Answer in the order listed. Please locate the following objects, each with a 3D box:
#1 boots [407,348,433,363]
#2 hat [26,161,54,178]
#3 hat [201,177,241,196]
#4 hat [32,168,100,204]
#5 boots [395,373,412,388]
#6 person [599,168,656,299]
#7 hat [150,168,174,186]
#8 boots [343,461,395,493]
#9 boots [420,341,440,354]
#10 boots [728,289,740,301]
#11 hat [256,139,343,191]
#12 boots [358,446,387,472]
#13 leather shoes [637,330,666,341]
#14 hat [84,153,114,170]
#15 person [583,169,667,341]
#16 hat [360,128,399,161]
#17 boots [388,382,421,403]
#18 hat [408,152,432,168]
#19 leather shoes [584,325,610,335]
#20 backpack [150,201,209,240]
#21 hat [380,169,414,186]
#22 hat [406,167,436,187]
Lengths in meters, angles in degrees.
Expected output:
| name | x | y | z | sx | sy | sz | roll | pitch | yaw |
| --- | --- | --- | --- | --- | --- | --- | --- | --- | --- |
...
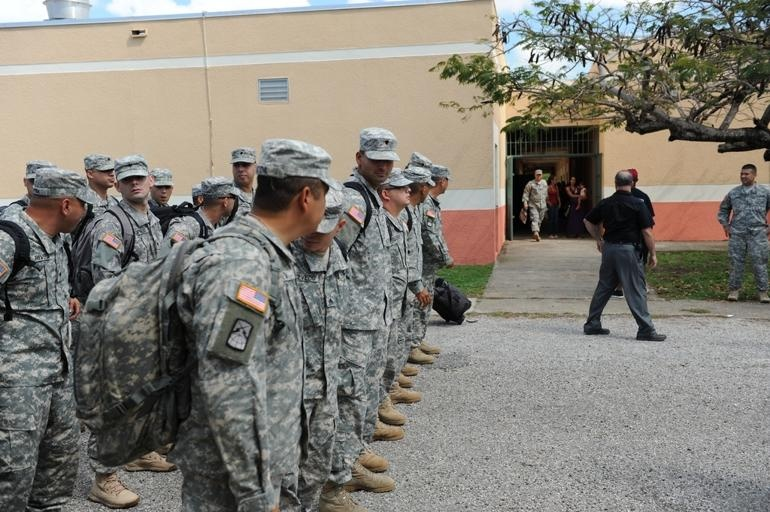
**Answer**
| name | x | y | z | sx | sy | sz | roll | pitch | yaw |
| --- | --- | --- | --- | --- | --- | --- | --- | --- | --- |
| boots | 0.505 | 1.323 | 11.128 | 0.420 | 0.156 | 0.165 | 2 | 7 | 18 |
| hat | -3.616 | -0.894 | 8.761 | 0.403 | 0.152 | 0.541 | -1 | 6 | -22 |
| hat | -1.901 | -0.814 | 9.749 | 0.242 | 0.124 | 0.340 | 7 | 13 | 23 |
| hat | -3.009 | -0.665 | 7.817 | 0.591 | 0.264 | 0.394 | 0 | 10 | -40 |
| boots | 0.239 | 1.527 | 10.302 | 0.313 | 0.123 | 0.109 | 0 | 7 | 2 |
| person | 4.281 | -0.310 | 14.506 | 1.058 | 2.426 | 0.894 | 17 | 36 | 40 |
| hat | -2.955 | -1.029 | 10.927 | 0.243 | 0.125 | 0.329 | -1 | 13 | -32 |
| boots | -0.143 | 2.196 | 8.355 | 0.652 | 0.276 | 0.209 | -3 | 5 | 1 |
| boots | 0.583 | 1.256 | 11.525 | 0.320 | 0.130 | 0.116 | 4 | 15 | 30 |
| boots | 5.942 | 0.678 | 14.325 | 0.108 | 0.207 | 0.323 | 8 | 18 | 29 |
| hat | -0.677 | -0.701 | 6.468 | 0.489 | 0.206 | 0.330 | 5 | 11 | -19 |
| boots | -0.126 | 2.059 | 8.553 | 0.392 | 0.239 | 0.200 | 0 | 8 | -5 |
| leather shoes | 3.746 | 1.131 | 11.864 | 0.422 | 0.166 | 0.152 | 0 | 5 | 8 |
| hat | -3.527 | -1.113 | 10.103 | 0.444 | 0.151 | 0.304 | 2 | 19 | 6 |
| person | 3.475 | 0.141 | 12.140 | 1.151 | 2.015 | 0.768 | 2 | 8 | 18 |
| hat | -0.055 | -1.147 | 8.475 | 0.424 | 0.257 | 0.547 | -3 | 20 | -27 |
| boots | 0.315 | 1.627 | 9.941 | 0.531 | 0.226 | 0.186 | -2 | 5 | 6 |
| hat | 0.521 | -1.218 | 10.861 | 0.408 | 0.182 | 0.246 | -2 | 5 | -33 |
| leather shoes | 3.078 | 1.088 | 12.289 | 0.382 | 0.149 | 0.132 | 1 | 4 | -6 |
| backpack | -2.456 | -0.450 | 9.640 | 0.310 | 0.370 | 0.372 | -16 | 41 | -31 |
| hat | 0.108 | -0.825 | 8.870 | 0.257 | 0.128 | 0.365 | 0 | 6 | -2 |
| hat | 0.391 | -0.929 | 9.815 | 0.280 | 0.096 | 0.178 | 11 | 28 | -17 |
